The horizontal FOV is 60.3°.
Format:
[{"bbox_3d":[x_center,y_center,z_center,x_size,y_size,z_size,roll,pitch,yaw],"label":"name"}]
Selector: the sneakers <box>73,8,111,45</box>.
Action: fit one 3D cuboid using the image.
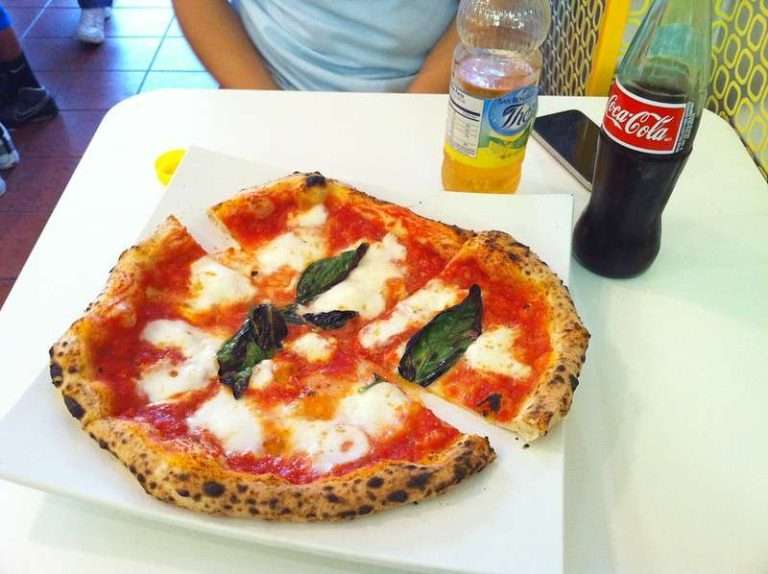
[{"bbox_3d":[-1.388,-1.264,3.175,0.093,0.119,0.279,6,40,-10],"label":"sneakers"}]
